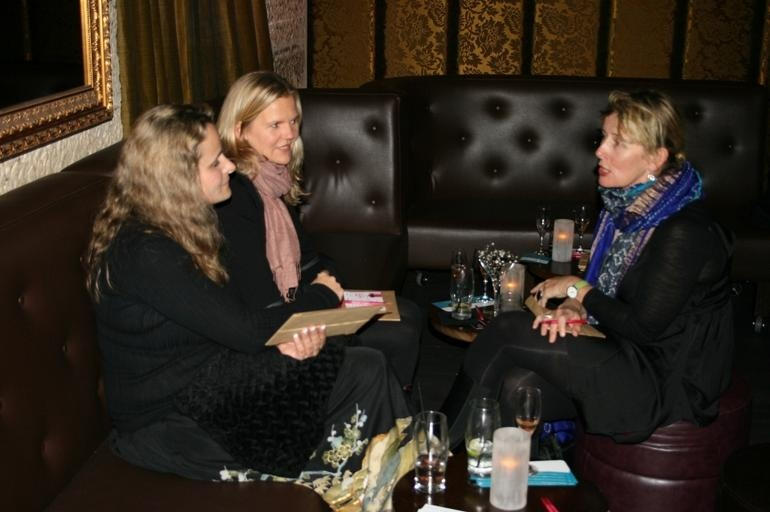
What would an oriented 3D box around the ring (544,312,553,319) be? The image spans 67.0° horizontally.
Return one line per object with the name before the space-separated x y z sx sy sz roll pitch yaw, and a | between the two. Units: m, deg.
ring | 0.659 0.235 2.333 0.024 0.022 0.024 4 27 -2
